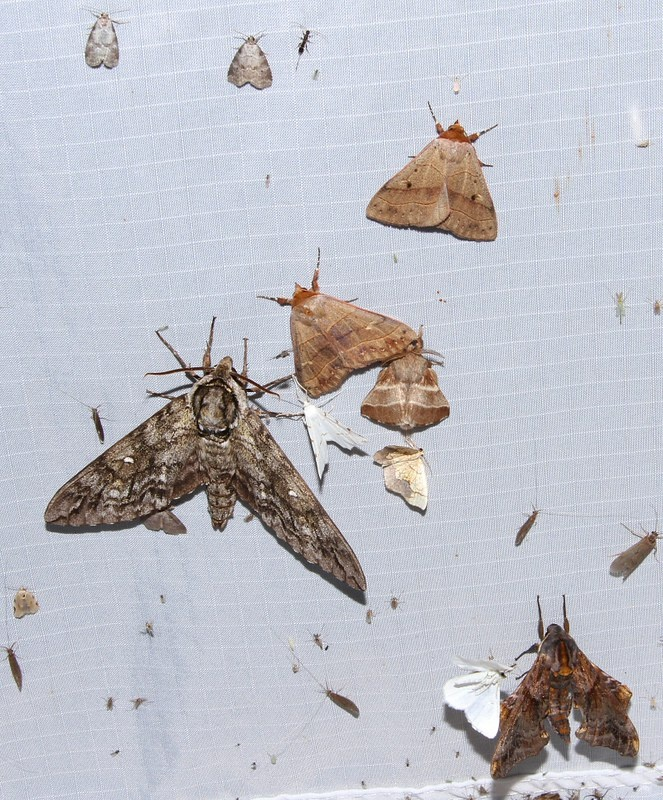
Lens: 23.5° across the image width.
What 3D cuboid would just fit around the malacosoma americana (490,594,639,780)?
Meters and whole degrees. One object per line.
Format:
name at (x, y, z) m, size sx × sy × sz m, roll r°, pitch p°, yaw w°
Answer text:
malacosoma americana at (1.383, 1.703, 9.585) m, size 0.944 × 1.052 × 0.312 m, roll -3°, pitch 3°, yaw 11°

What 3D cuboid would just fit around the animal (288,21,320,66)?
animal at (-0.165, -2.106, 9.411) m, size 0.153 × 0.228 × 0.059 m, roll 18°, pitch 9°, yaw 2°

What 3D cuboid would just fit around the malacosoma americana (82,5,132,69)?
malacosoma americana at (-1.361, -2.104, 9.383) m, size 0.263 × 0.319 × 0.081 m, roll 2°, pitch 11°, yaw -3°

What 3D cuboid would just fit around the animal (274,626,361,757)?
animal at (-0.069, 1.714, 9.665) m, size 0.323 × 0.580 × 0.119 m, roll -34°, pitch 3°, yaw 12°

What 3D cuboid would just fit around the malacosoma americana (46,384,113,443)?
malacosoma americana at (-1.477, 0.047, 9.684) m, size 0.306 × 0.364 × 0.088 m, roll -13°, pitch 17°, yaw 13°

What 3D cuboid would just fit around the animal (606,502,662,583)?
animal at (1.861, 0.924, 9.714) m, size 0.343 × 0.257 × 0.102 m, roll -45°, pitch 1°, yaw 4°

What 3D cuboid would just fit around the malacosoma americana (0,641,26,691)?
malacosoma americana at (-1.938, 1.626, 9.694) m, size 0.146 × 0.221 × 0.055 m, roll -9°, pitch 5°, yaw -26°

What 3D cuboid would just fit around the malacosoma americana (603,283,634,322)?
malacosoma americana at (1.735, -0.597, 9.565) m, size 0.128 × 0.188 × 0.057 m, roll 3°, pitch 11°, yaw 2°

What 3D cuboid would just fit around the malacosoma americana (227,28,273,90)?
malacosoma americana at (-0.484, -1.959, 9.297) m, size 0.258 × 0.297 × 0.076 m, roll 5°, pitch 12°, yaw 2°

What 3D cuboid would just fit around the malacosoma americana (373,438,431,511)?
malacosoma americana at (0.433, 0.358, 9.553) m, size 0.310 × 0.498 × 0.158 m, roll -26°, pitch 39°, yaw 7°

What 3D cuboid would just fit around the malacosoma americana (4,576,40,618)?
malacosoma americana at (-1.899, 1.189, 9.717) m, size 0.177 × 0.225 × 0.078 m, roll -3°, pitch 3°, yaw -9°
